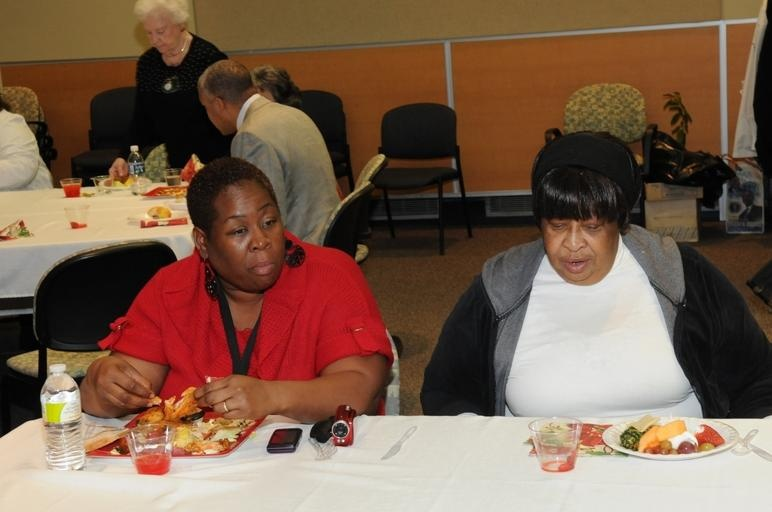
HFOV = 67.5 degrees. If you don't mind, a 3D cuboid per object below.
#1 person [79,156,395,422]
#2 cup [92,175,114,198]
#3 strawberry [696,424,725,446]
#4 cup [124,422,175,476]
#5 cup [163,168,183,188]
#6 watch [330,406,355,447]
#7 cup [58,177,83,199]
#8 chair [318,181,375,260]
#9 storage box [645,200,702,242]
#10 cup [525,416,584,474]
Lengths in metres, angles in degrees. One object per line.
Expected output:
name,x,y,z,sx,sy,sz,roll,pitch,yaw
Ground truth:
person,-0.389,-0.004,1.845,0.777,0.939,0.839,-3,20,-7
cup,-2.037,-0.488,4.148,0.174,0.132,0.181,1,3,0
strawberry,0.719,0.398,1.292,0.034,0.012,0.037,15,29,16
cup,-0.541,0.442,1.336,0.100,0.083,0.106,-1,-5,0
cup,-1.471,-0.535,3.988,0.141,0.142,0.130,1,-1,0
watch,-0.115,0.419,1.422,0.047,0.032,0.084,4,51,-1
cup,-2.163,-0.470,3.976,0.144,0.119,0.150,-1,-2,0
chair,-0.292,-0.193,3.211,0.386,0.408,0.330,5,21,11
storage box,2.495,-0.323,5.042,0.436,0.426,0.417,-1,8,17
cup,0.376,0.409,1.293,0.109,0.083,0.141,-2,11,12
